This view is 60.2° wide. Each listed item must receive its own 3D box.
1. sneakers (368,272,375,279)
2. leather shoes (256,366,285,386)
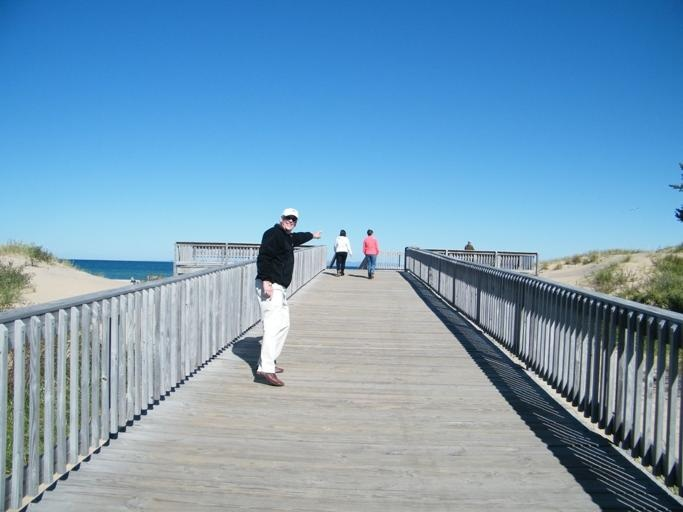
[{"bbox_3d":[1.111,0.751,21.936,0.123,0.157,0.383,2,9,10],"label":"sneakers"},{"bbox_3d":[-0.852,1.374,6.704,0.452,0.219,0.150,-8,-6,38],"label":"leather shoes"}]
